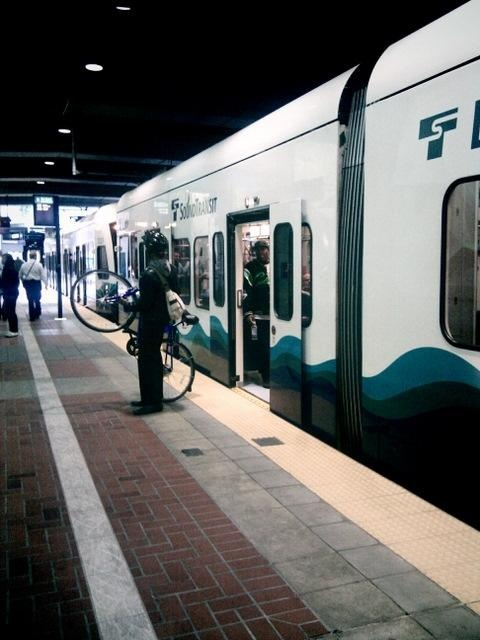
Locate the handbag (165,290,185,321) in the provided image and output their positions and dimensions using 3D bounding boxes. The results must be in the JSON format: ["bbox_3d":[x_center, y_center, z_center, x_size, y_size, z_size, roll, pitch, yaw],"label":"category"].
[{"bbox_3d":[-0.747,-0.163,5.635,0.124,0.344,0.281,-13,16,21],"label":"handbag"}]
